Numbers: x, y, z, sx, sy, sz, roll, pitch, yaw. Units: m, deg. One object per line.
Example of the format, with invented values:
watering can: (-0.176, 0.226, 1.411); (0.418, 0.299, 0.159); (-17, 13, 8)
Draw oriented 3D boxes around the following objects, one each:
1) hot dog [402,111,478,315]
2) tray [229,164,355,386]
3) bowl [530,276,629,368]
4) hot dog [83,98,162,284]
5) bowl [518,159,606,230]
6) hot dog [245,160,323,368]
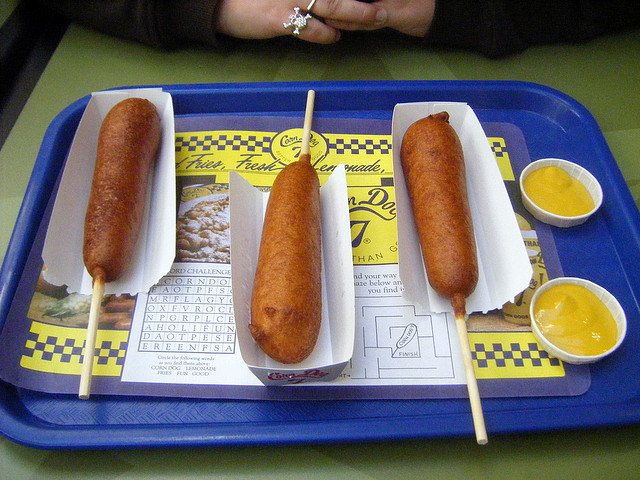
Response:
hot dog: (0.300, -0.082, 1.404); (0.146, 0.153, 0.556); (2, 61, -14)
tray: (-0.067, 0.077, 1.339); (0.331, 0.186, 0.547); (-5, 64, -6)
bowl: (0.659, 0.210, 1.356); (0.243, 0.106, 0.235); (0, 67, -1)
hot dog: (-0.562, -0.161, 1.463); (0.154, 0.150, 0.539); (17, 58, -29)
bowl: (0.689, -0.123, 1.519); (0.227, 0.078, 0.222); (-1, 61, 1)
hot dog: (-0.063, 0.045, 1.321); (0.159, 0.173, 0.526); (10, 52, -9)
